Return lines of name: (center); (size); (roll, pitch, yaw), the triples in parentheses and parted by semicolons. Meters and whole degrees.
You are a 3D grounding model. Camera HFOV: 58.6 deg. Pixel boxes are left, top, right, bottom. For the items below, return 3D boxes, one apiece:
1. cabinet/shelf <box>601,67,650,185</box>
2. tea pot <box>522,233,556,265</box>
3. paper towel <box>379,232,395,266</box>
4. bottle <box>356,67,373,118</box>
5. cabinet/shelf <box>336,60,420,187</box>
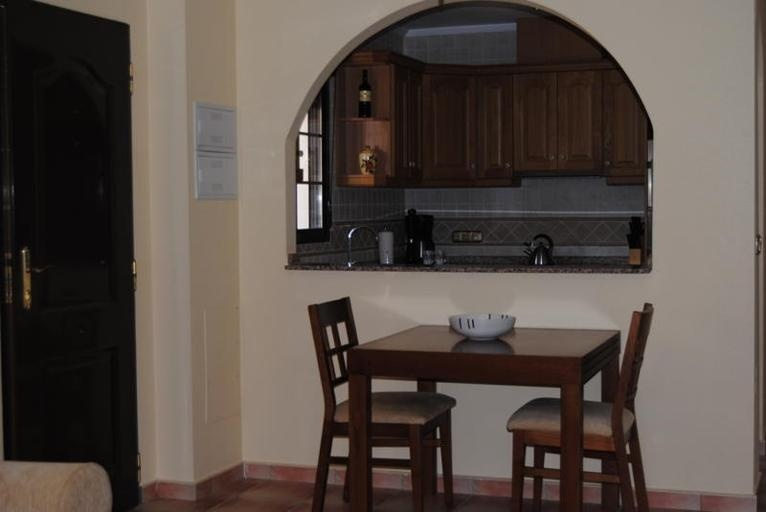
cabinet/shelf: (2.302, -1.221, 6.475); (0.392, 1.044, 0.226); (2, 3, 26)
tea pot: (1.493, -0.041, 6.489); (0.327, 0.359, 0.307); (4, -2, 0)
paper towel: (0.018, -0.062, 6.093); (0.114, 0.291, 0.117); (-2, -2, -2)
bottle: (-0.148, -1.379, 5.787); (0.120, 0.424, 0.170); (1, 3, 0)
cabinet/shelf: (-0.073, -1.151, 5.897); (0.567, 1.174, 1.146); (0, 1, 14)
